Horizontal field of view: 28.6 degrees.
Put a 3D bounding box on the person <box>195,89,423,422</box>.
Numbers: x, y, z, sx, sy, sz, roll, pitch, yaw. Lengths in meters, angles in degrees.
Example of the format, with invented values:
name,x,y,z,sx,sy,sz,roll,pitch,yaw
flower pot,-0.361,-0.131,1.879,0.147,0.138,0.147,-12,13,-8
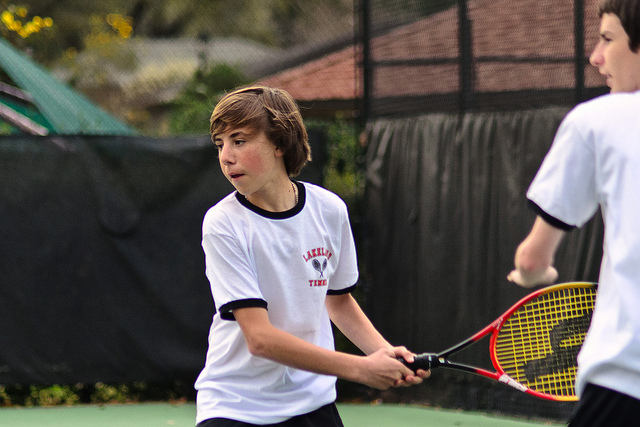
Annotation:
name,x,y,z,sx,sy,sz,roll,pitch,yaw
person,-0.300,0.354,9.405,1.493,2.480,0.876,-10,16,-9
